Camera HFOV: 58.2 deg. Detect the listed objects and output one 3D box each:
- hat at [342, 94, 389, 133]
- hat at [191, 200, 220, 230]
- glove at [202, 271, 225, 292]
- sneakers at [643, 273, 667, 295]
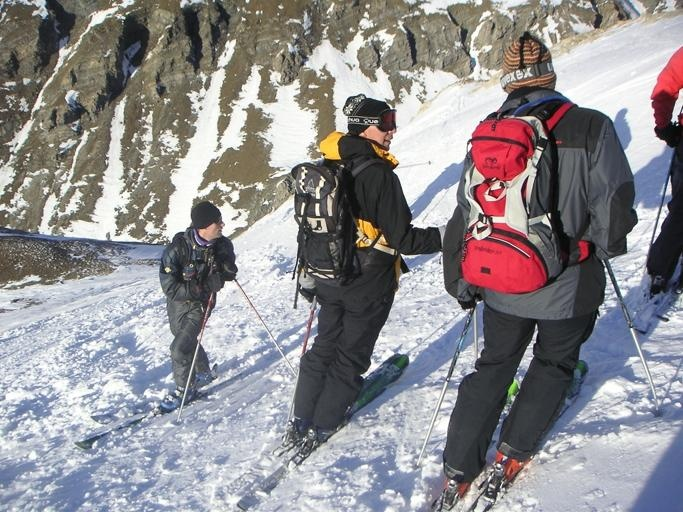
[{"bbox_3d":[0.335,-1.846,7.926,0.581,0.457,0.426,-4,22,1],"label":"hat"},{"bbox_3d":[-2.232,-0.652,10.104,0.477,0.463,0.410,-3,9,-14],"label":"hat"},{"bbox_3d":[-2.135,0.458,10.323,0.301,0.270,0.197,-3,9,-12],"label":"glove"},{"bbox_3d":[4.596,0.431,9.070,0.232,0.321,0.094,10,14,28],"label":"sneakers"}]
